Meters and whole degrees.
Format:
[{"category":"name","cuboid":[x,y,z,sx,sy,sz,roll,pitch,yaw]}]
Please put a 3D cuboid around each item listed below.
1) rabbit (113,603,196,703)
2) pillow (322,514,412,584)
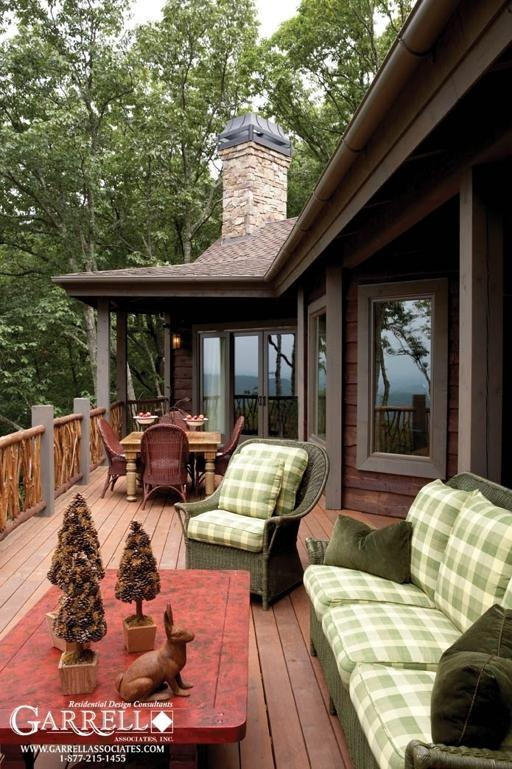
[{"category":"rabbit","cuboid":[-0.256,0.680,1.315,0.180,0.237,0.113,2,8,-8]},{"category":"pillow","cuboid":[0.499,0.680,2.305,0.309,0.263,0.342,4,4,-23]}]
